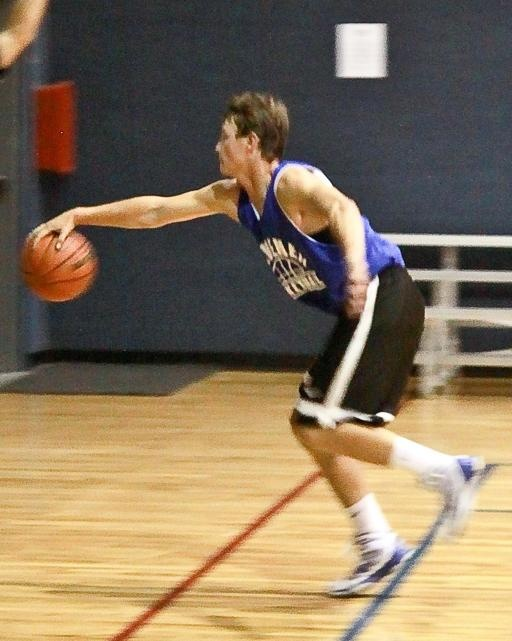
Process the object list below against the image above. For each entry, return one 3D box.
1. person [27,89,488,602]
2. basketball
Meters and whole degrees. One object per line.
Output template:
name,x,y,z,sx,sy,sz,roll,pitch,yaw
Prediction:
person,0.067,0.042,2.173,0.794,1.066,0.343,5,10,32
basketball,-0.484,-0.128,2.394,0.192,0.177,0.176,0,22,0
